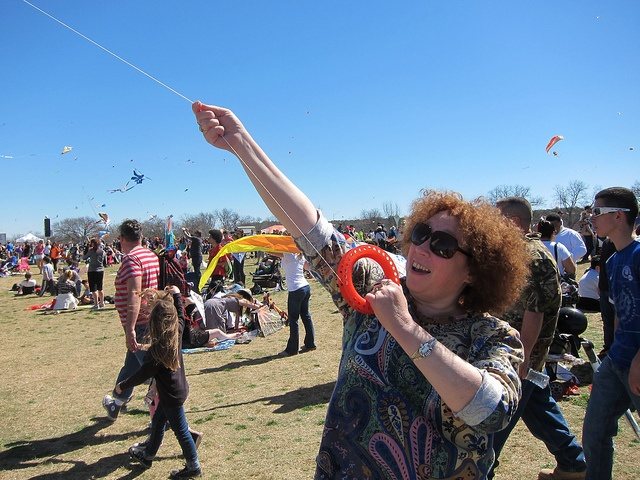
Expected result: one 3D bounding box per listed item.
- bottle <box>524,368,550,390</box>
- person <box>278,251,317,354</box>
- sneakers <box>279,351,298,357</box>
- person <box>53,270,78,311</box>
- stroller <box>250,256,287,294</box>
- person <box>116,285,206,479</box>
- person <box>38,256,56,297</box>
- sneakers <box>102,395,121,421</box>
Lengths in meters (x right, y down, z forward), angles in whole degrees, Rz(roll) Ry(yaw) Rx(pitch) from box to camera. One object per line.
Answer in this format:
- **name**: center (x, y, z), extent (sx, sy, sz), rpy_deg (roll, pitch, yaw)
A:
- **bottle**: center (1.781, 1.156, 3.762), extent (0.196, 0.190, 0.178), rpy_deg (-2, 3, 4)
- **person**: center (-0.410, 1.141, 8.404), extent (0.635, 1.879, 1.487), rpy_deg (-2, 3, -1)
- **sneakers**: center (-0.568, 2.060, 8.360), extent (0.339, 0.160, 0.130), rpy_deg (-1, 2, 10)
- **person**: center (-7.689, 1.477, 13.799), extent (0.629, 1.222, 1.085), rpy_deg (-4, 4, -26)
- **stroller**: center (-1.600, 1.154, 15.193), extent (0.949, 1.467, 1.368), rpy_deg (-4, -8, 29)
- **person**: center (-1.682, 1.544, 4.894), extent (0.685, 1.898, 0.854), rpy_deg (-5, 4, -42)
- **person**: center (-10.180, 1.383, 17.052), extent (0.501, 1.349, 1.761), rpy_deg (-4, 4, -30)
- **sneakers**: center (-2.625, 2.157, 5.838), extent (0.218, 0.435, 0.150), rpy_deg (-37, -36, 22)
